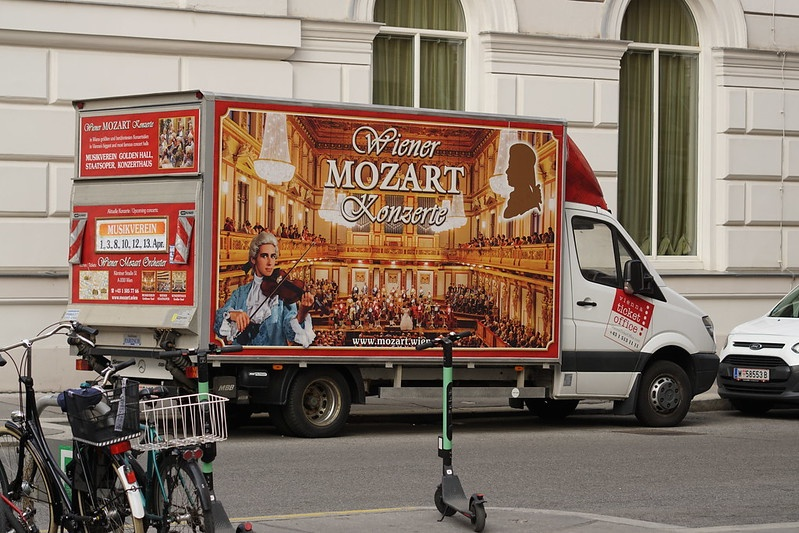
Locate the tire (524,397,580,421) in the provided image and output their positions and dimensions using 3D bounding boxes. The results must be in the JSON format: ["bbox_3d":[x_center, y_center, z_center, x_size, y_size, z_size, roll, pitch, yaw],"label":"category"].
[{"bbox_3d":[2.428,2.331,18.747,0.549,0.401,0.518,0,-4,7],"label":"tire"}]

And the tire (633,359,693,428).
[{"bbox_3d":[3.997,1.967,17.761,0.812,0.878,0.313,-22,12,-30],"label":"tire"}]

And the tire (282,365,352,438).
[{"bbox_3d":[-1.268,1.918,16.362,0.902,1.000,0.325,-4,-2,-27],"label":"tire"}]

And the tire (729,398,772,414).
[{"bbox_3d":[5.926,2.386,19.515,0.442,0.161,0.452,1,-2,-28],"label":"tire"}]
